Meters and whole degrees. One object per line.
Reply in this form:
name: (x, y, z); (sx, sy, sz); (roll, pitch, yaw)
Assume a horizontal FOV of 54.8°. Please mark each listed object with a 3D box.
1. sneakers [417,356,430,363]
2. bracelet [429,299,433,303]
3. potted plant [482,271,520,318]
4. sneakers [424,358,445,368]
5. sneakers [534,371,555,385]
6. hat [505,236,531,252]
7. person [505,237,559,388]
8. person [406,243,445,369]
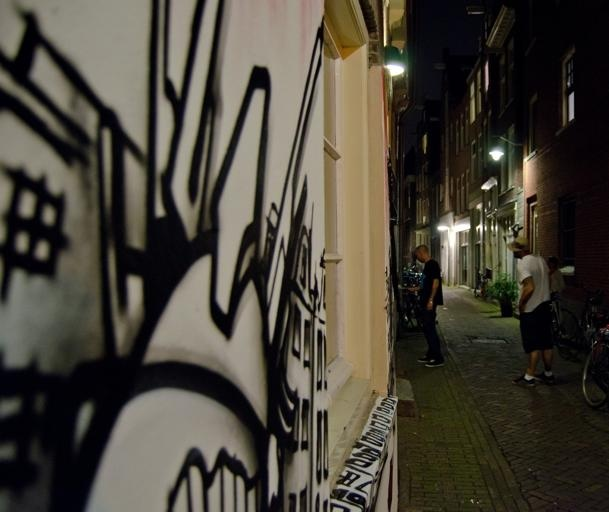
sneakers: (1.928, 1.664, 9.493); (0.169, 0.111, 0.074); (6, 11, 16)
bracelet: (1.923, 0.683, 8.949); (0.041, 0.087, 0.040); (-6, 9, -40)
potted plant: (5.748, 1.109, 16.663); (0.901, 1.263, 0.715); (1, 0, -43)
sneakers: (2.045, 1.664, 9.231); (0.289, 0.176, 0.127); (4, -7, -15)
sneakers: (3.170, 1.588, 7.754); (0.102, 0.171, 0.306); (-2, 5, -15)
hat: (2.763, -0.109, 7.582); (0.214, 0.115, 0.238); (10, 46, 16)
person: (2.947, 0.733, 7.542); (0.609, 1.840, 1.049); (6, -1, 26)
person: (2.105, 0.787, 9.859); (0.609, 1.897, 1.962); (6, -1, 11)
